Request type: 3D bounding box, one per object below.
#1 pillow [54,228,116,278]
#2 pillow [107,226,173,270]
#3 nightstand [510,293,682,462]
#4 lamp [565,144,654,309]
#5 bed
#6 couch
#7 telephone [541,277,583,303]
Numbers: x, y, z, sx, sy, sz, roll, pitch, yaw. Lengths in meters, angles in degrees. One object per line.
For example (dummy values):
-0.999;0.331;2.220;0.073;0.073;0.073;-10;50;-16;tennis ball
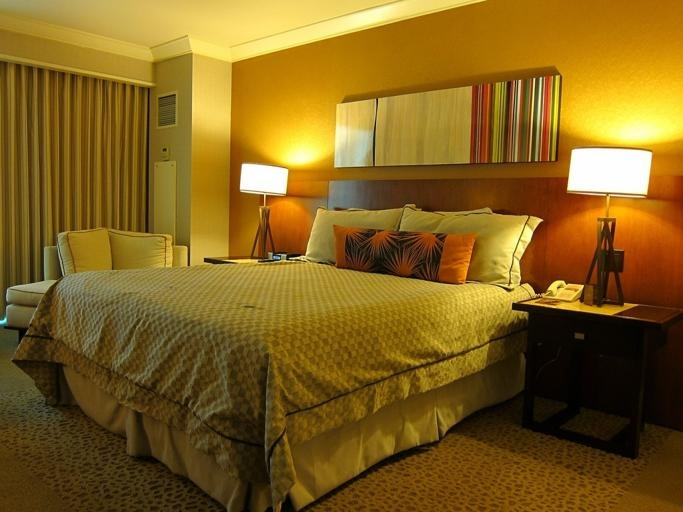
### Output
-2.299;-0.014;4.502;0.187;0.374;0.361;-12;-1;40;pillow
-1.974;0.010;4.978;0.486;0.534;0.469;1;-1;-12;pillow
1.645;0.604;3.316;0.901;1.001;0.928;-1;3;-44;nightstand
1.760;-0.195;3.290;0.508;1.006;0.388;-4;12;-28;lamp
-0.076;0.561;2.976;1.932;1.048;1.755;-1;3;-39;bed
-2.428;0.038;4.992;1.313;1.274;1.244;2;-2;-25;couch
1.504;0.242;3.357;0.177;0.079;0.170;-2;2;-33;telephone
